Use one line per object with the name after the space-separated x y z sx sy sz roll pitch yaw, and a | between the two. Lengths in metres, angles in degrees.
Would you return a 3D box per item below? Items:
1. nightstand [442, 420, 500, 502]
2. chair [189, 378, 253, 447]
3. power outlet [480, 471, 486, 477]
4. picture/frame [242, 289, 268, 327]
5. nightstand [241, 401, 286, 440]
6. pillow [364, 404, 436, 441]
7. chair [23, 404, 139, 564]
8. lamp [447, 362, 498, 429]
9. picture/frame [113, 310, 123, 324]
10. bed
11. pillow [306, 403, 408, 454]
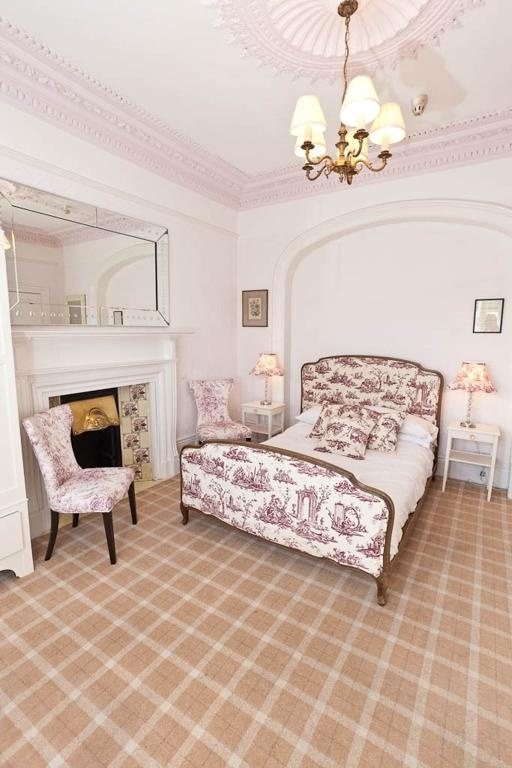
1.846 0.633 4.536 0.420 0.693 0.340 10 23 30 | nightstand
-0.356 0.350 5.130 0.531 0.766 0.544 -3 10 -23 | chair
2.031 0.814 4.721 0.012 0.048 0.048 11 0 -39 | power outlet
-0.021 -0.838 5.720 0.359 0.397 0.032 6 12 44 | picture/frame
0.044 0.367 5.682 0.517 0.521 0.396 3 4 43 | nightstand
1.316 0.360 4.401 0.332 0.143 0.467 -9 14 -39 | pillow
-1.155 0.649 3.510 0.589 0.944 0.577 2 12 4 | chair
1.825 0.080 4.450 0.336 0.544 0.412 2 9 25 | lamp
-1.077 -0.530 4.067 0.008 0.111 0.095 10 15 20 | picture/frame
0.585 0.347 4.101 1.565 0.935 2.112 9 13 24 | bed
0.807 0.348 4.174 0.480 0.142 0.481 3 28 28 | pillow
